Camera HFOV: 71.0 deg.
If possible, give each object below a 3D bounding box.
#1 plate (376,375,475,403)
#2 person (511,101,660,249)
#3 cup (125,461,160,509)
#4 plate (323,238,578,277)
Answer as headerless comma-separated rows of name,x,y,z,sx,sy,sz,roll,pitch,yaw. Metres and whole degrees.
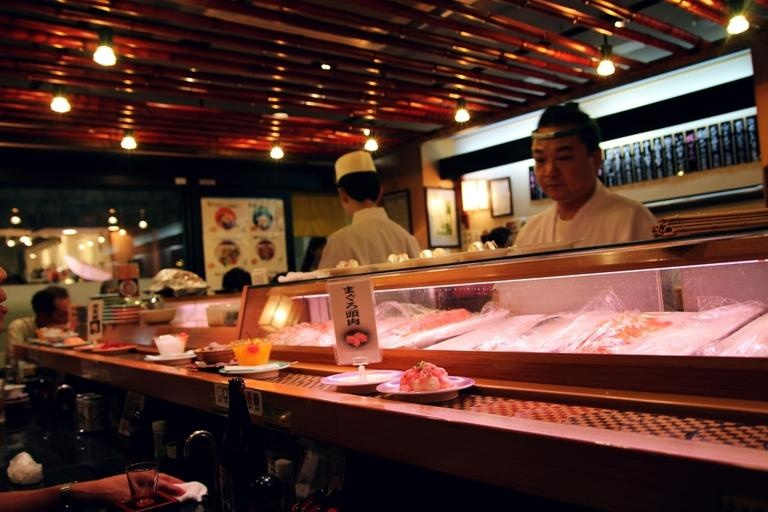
plate,0.140,0.474,1.910,0.358,0.048,0.169,-3,-2,5
person,1.102,-0.367,3.063,0.535,0.896,1.020,-9,8,-41
cup,-0.883,0.835,1.965,0.142,0.144,0.140,-3,-10,-1
plate,0.238,0.015,2.251,1.130,0.080,0.218,-4,-2,37
